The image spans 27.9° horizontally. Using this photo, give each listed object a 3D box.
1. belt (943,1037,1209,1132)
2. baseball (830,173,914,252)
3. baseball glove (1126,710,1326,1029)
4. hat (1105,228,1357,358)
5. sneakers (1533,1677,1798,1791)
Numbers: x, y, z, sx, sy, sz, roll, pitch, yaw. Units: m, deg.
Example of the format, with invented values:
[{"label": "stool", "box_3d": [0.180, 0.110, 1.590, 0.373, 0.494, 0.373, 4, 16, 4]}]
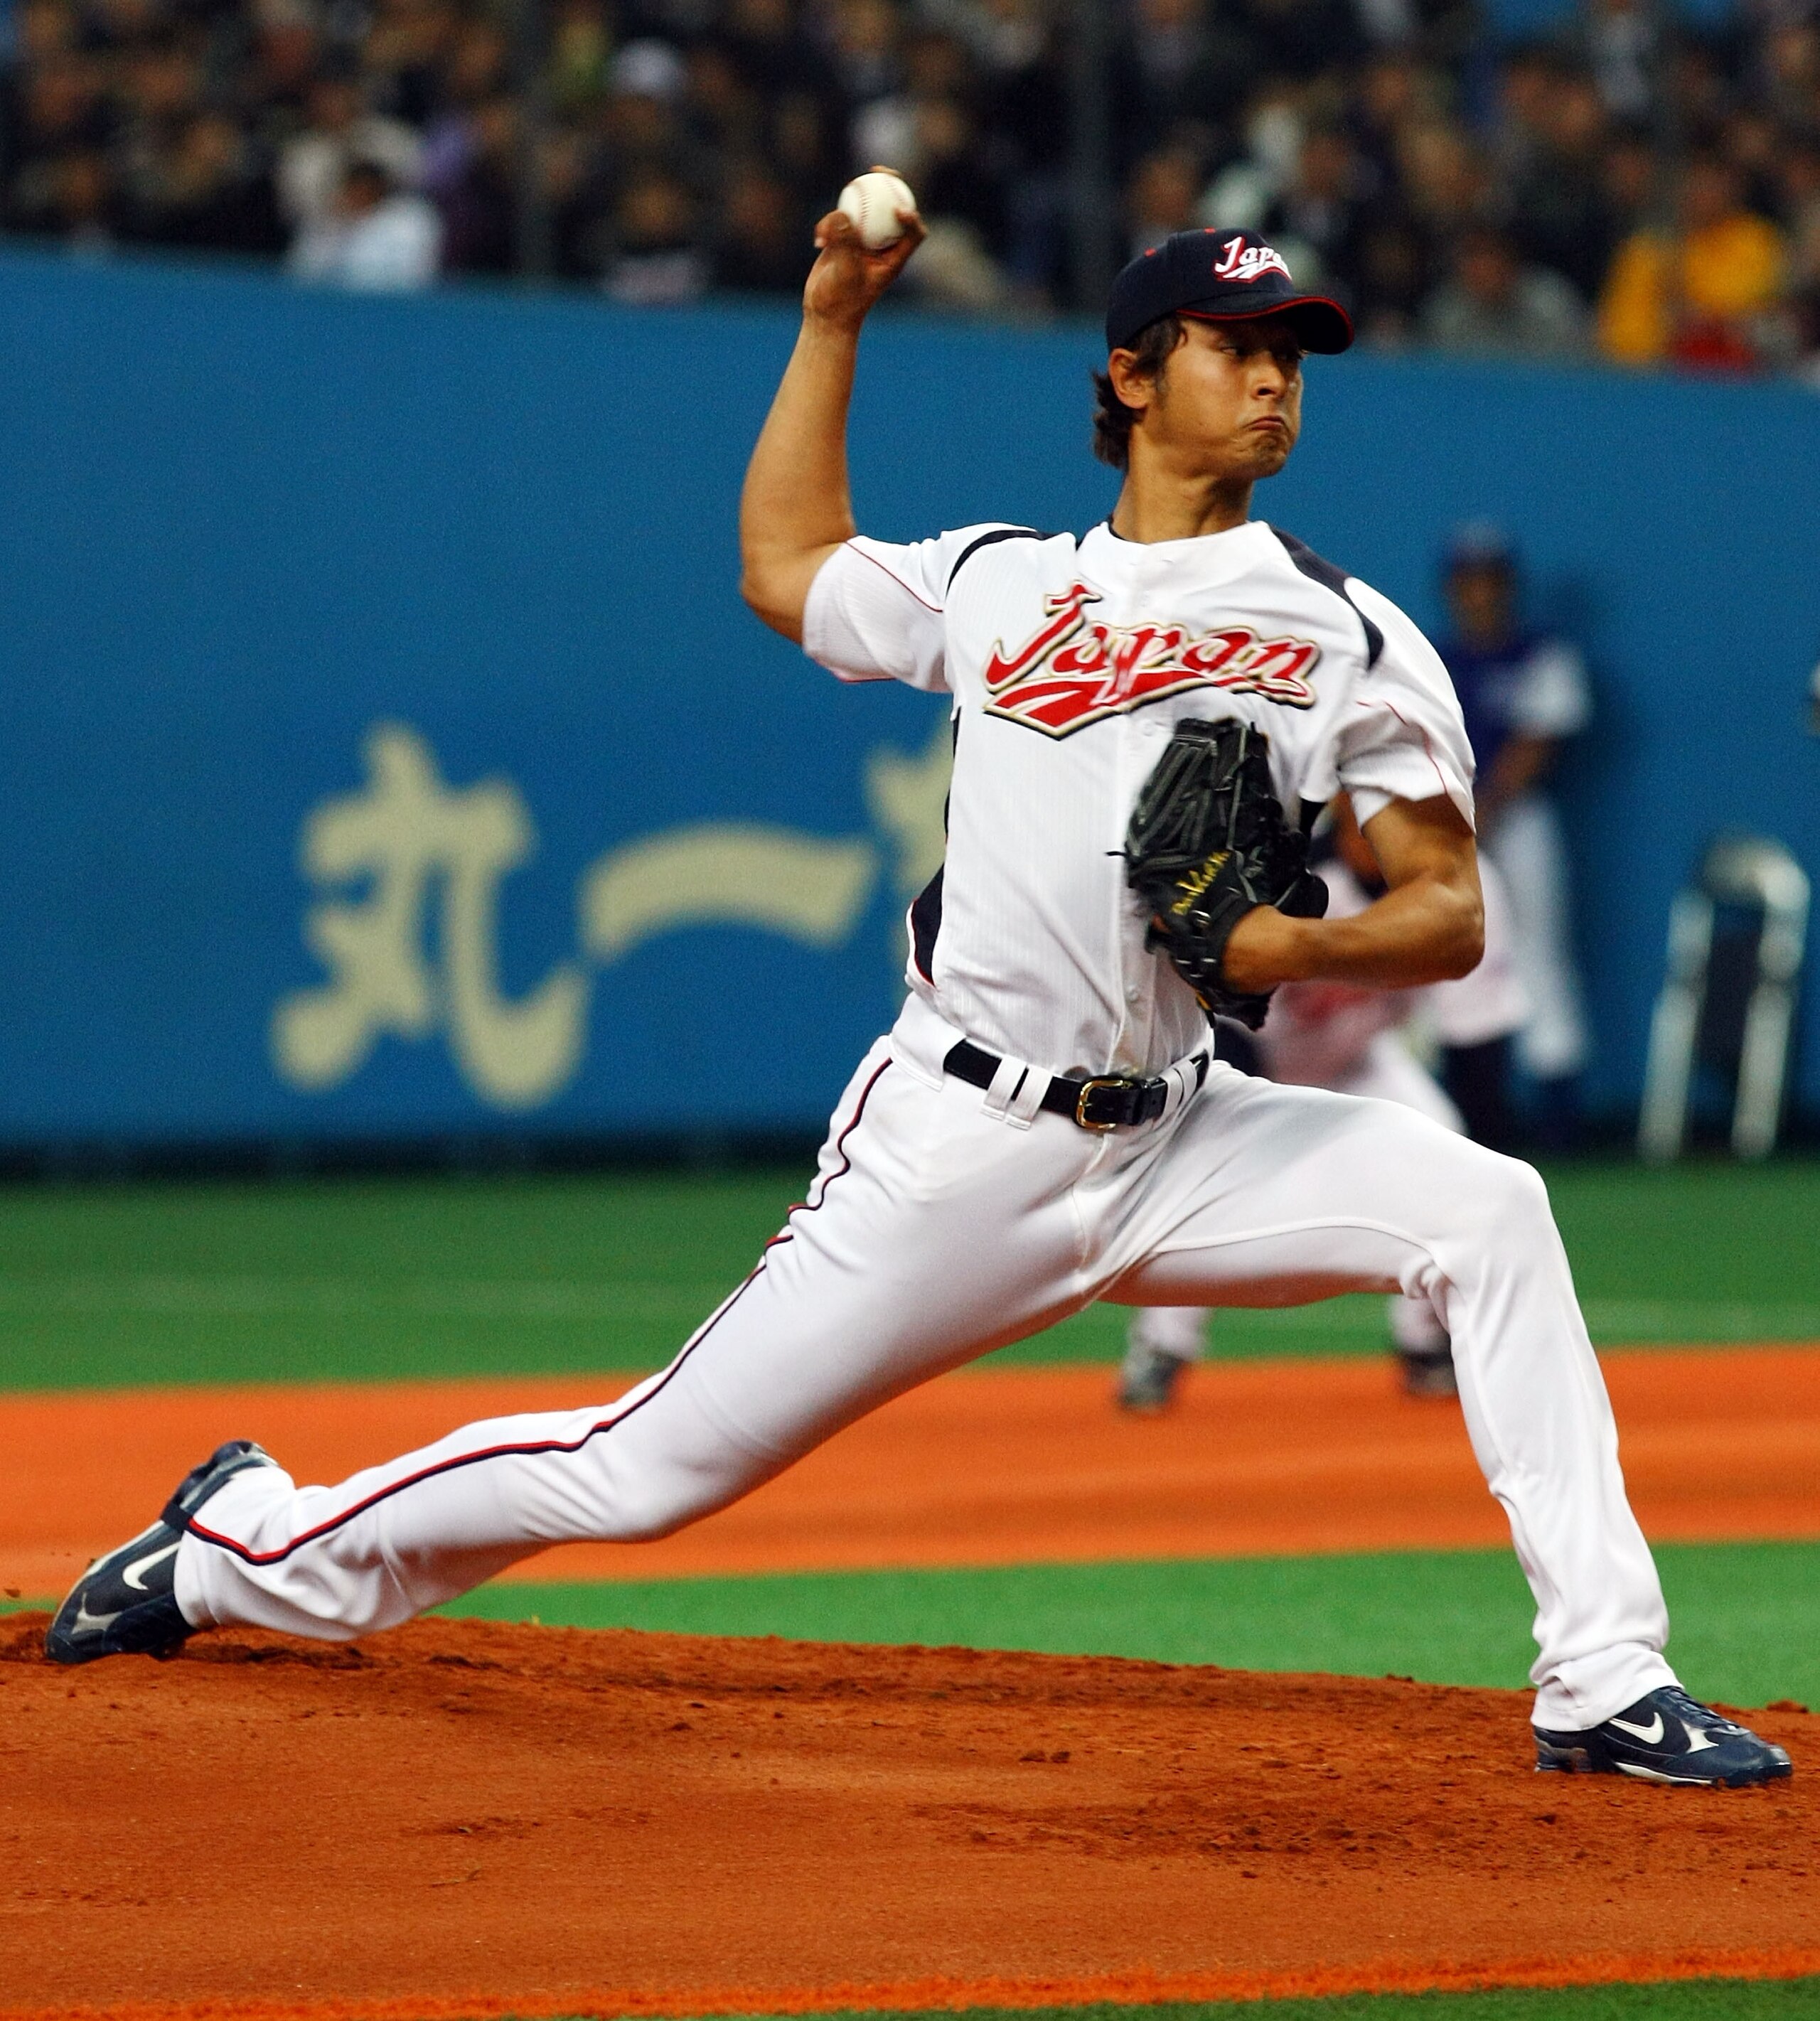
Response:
[{"label": "belt", "box_3d": [0.240, 0.091, 4.579, 0.370, 0.119, 0.140, -4, 8, -26]}, {"label": "baseball", "box_3d": [-0.055, -1.072, 4.893, 0.104, 0.076, 0.106, 29, 47, 32]}, {"label": "baseball glove", "box_3d": [0.395, -0.163, 4.482, 0.125, 0.328, 0.265, 1, 0, 35]}, {"label": "hat", "box_3d": [0.418, -0.922, 4.680, 0.249, 0.116, 0.175, -3, 0, 38]}, {"label": "sneakers", "box_3d": [0.922, 0.883, 4.470, 0.319, 0.113, 0.121, -1, -1, 16]}]
